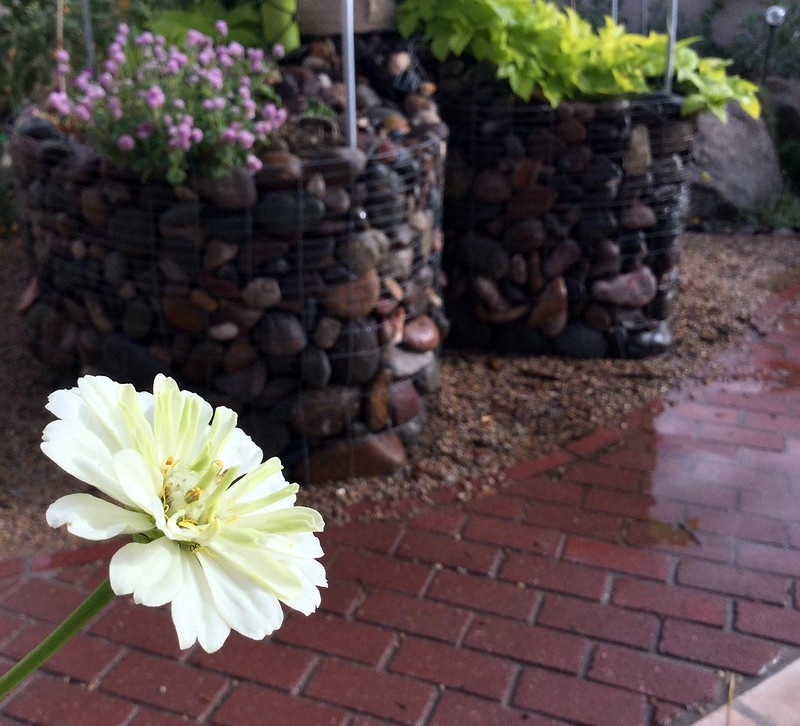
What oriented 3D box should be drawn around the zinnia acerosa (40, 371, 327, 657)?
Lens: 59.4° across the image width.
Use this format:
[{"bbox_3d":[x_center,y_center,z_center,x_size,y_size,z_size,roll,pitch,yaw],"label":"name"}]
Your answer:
[{"bbox_3d":[-0.140,0.094,0.570,0.236,0.097,0.243,25,21,-18],"label":"zinnia acerosa"}]
